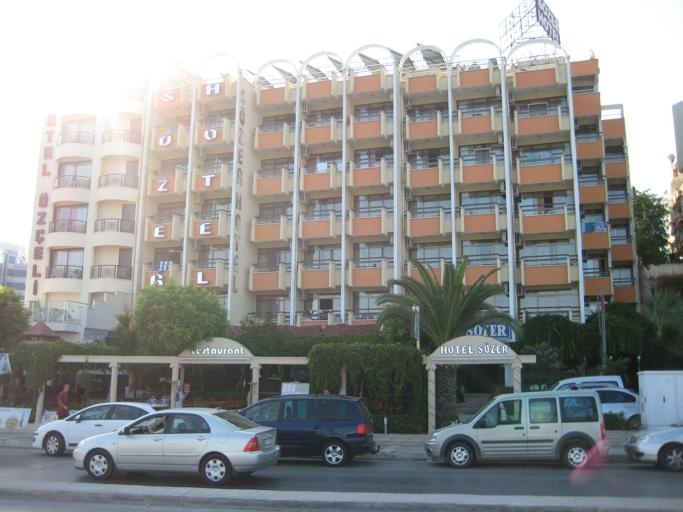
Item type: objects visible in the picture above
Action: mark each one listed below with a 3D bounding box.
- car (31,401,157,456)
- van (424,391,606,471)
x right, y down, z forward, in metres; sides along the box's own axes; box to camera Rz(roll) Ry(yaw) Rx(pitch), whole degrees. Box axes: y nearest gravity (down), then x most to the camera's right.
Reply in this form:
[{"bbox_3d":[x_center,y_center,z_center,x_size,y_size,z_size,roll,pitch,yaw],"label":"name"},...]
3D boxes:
[{"bbox_3d":[-9.324,6.359,25.409,4.676,1.482,2.080,-2,-9,9],"label":"car"},{"bbox_3d":[5.968,5.898,23.274,5.052,2.042,2.671,1,-11,9],"label":"van"}]
